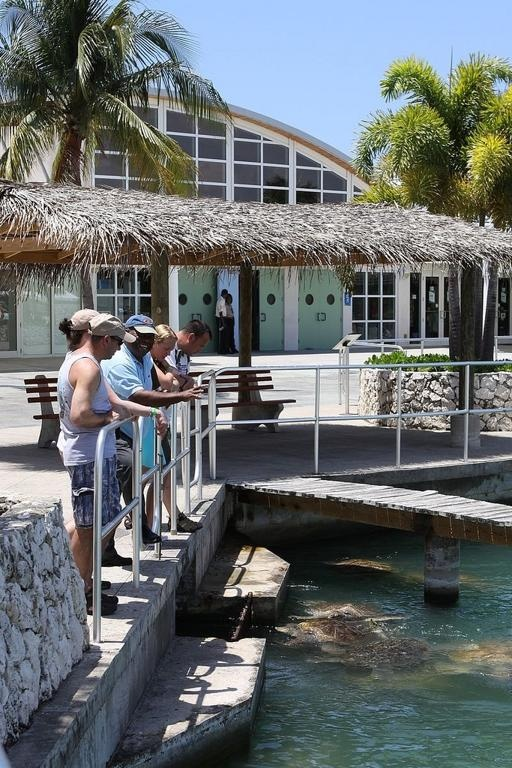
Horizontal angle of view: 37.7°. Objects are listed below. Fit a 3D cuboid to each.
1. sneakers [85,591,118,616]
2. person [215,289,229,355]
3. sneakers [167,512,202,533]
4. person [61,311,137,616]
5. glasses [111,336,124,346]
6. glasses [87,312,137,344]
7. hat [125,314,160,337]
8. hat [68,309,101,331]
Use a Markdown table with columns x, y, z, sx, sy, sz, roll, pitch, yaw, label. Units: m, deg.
| x | y | z | sx | sy | sz | roll | pitch | yaw | label |
| --- | --- | --- | --- | --- | --- | --- | --- | --- | --- |
| -0.767 | 1.077 | 3.635 | 0.168 | 0.069 | 0.127 | -2 | 0 | 12 | sneakers |
| -1.326 | -2.435 | 29.077 | 0.431 | 2.496 | 1.436 | 2 | 2 | -3 | person |
| -0.526 | 1.024 | 5.585 | 0.225 | 0.114 | 0.123 | 0 | 3 | 19 | sneakers |
| -0.780 | 0.371 | 3.659 | 0.365 | 1.486 | 0.728 | 1 | 3 | -14 | person |
| -0.679 | -0.210 | 3.696 | 0.020 | 0.041 | 0.030 | -9 | -3 | -26 | glasses |
| -0.699 | -0.276 | 3.690 | 0.201 | 0.107 | 0.120 | 0 | 13 | -33 | glasses |
| -0.705 | -0.365 | 4.645 | 0.126 | 0.096 | 0.184 | 12 | -6 | -32 | hat |
| -0.849 | -0.330 | 3.767 | 0.139 | 0.086 | 0.097 | -20 | 27 | -39 | hat |
